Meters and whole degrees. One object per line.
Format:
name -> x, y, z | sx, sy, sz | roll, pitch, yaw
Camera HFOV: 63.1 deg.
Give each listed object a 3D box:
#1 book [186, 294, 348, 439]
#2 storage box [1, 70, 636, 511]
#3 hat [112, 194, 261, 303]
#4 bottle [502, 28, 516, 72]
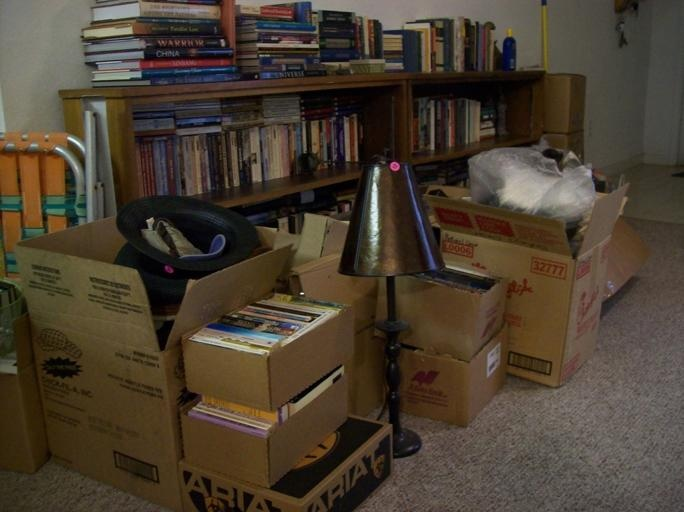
book -> -0.202, 0.288, 1.586 | 0.309, 0.239, 0.377 | 8, 20, 31
storage box -> -0.017, -0.091, 2.212 | 2.282, 1.222, 1.409 | -14, 20, -33
hat -> -0.476, -0.055, 1.735 | 0.368, 0.160, 0.374 | 37, 32, 19
bottle -> 1.161, -1.428, 3.862 | 0.086, 0.281, 0.287 | 2, 17, 15
